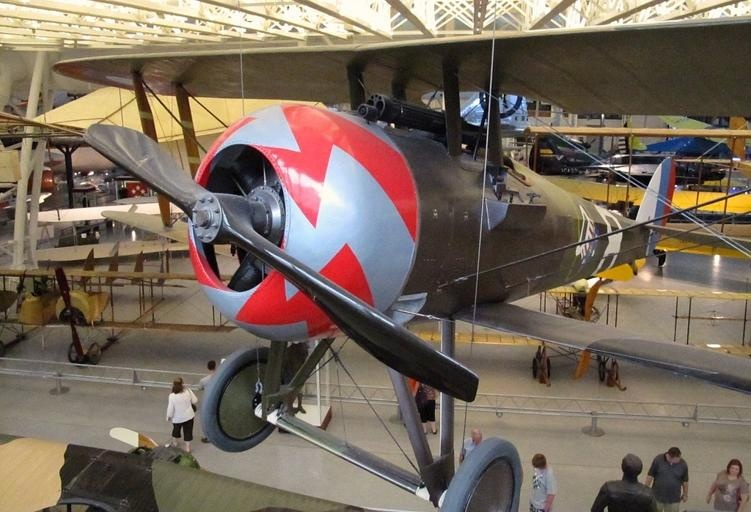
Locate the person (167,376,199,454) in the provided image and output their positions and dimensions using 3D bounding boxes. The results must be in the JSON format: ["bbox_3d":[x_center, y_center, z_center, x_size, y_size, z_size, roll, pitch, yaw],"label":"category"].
[{"bbox_3d":[-2.885,2.335,8.625,0.480,1.031,0.359,-1,7,-20],"label":"person"}]

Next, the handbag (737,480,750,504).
[{"bbox_3d":[4.322,2.777,6.823,0.115,0.279,0.206,-4,-26,11],"label":"handbag"}]
